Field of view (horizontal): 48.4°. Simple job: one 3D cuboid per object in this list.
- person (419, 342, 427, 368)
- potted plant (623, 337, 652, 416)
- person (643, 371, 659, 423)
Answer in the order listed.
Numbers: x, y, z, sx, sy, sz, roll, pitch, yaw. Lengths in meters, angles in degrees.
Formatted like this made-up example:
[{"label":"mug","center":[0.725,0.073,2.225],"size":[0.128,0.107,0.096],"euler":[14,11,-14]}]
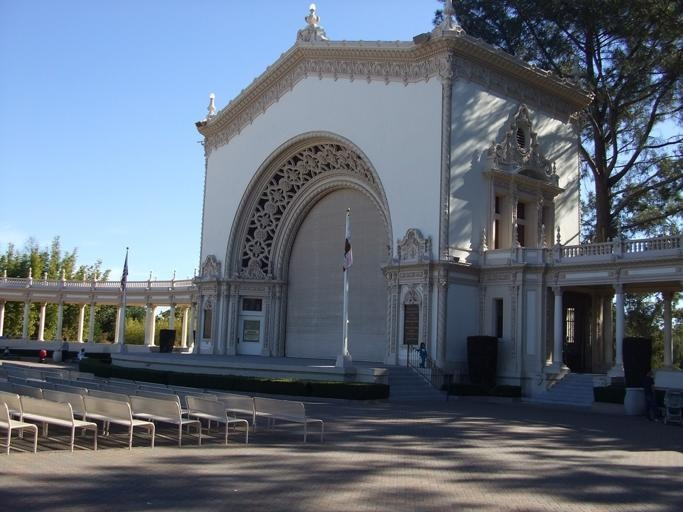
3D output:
[{"label":"person","center":[4.119,4.991,38.381],"size":[0.377,1.218,0.825],"euler":[1,-3,6]},{"label":"potted plant","center":[12.736,5.060,32.710],"size":[1.323,3.171,1.217],"euler":[6,-16,-8]},{"label":"person","center":[12.440,5.641,30.608],"size":[0.515,1.858,1.257],"euler":[1,-3,21]}]
